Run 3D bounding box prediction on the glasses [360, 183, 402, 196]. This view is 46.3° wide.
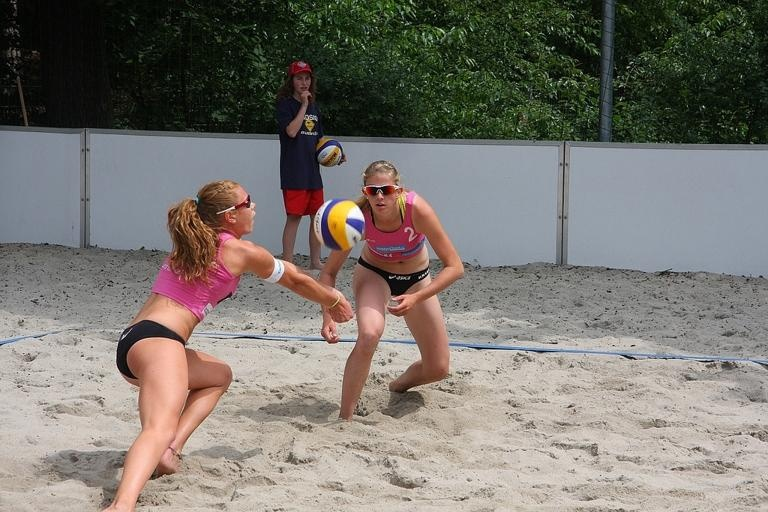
[{"bbox_3d":[-0.017,-0.592,8.182,0.359,0.111,0.128,2,6,-2],"label":"glasses"}]

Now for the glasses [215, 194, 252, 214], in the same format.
[{"bbox_3d":[-1.252,-0.415,7.584,0.204,0.059,0.172,-16,14,-21],"label":"glasses"}]

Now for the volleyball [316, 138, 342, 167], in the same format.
[{"bbox_3d":[-0.748,-1.368,11.994,0.299,0.291,0.286,34,6,20],"label":"volleyball"}]

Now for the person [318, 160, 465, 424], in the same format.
[{"bbox_3d":[-0.099,0.315,8.467,0.935,2.340,1.398,2,2,43],"label":"person"}]

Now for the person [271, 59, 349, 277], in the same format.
[{"bbox_3d":[-0.978,-1.190,12.084,0.849,2.536,0.810,-1,2,-34],"label":"person"}]
